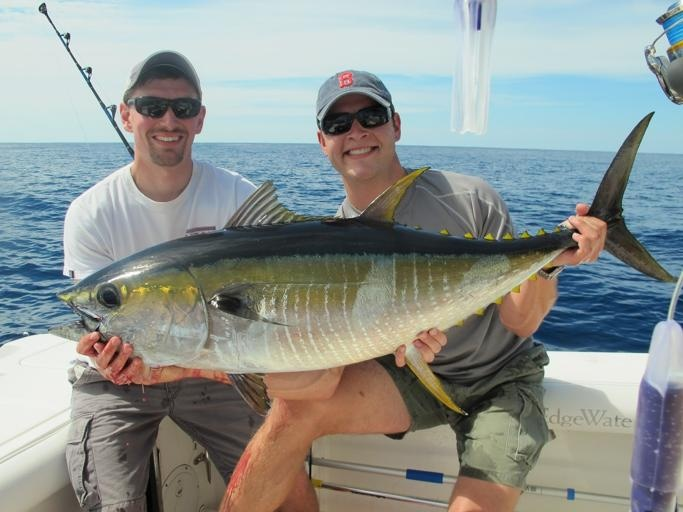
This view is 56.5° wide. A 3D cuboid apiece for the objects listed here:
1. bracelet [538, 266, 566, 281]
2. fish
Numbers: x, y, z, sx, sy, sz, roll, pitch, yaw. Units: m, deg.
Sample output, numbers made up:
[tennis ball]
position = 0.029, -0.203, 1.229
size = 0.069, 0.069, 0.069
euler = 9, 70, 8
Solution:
[bracelet]
position = 1.111, 0.088, 3.381
size = 0.099, 0.035, 0.111
euler = -4, -14, -10
[fish]
position = 0.620, 0.190, 3.913
size = 4.726, 1.383, 1.101
euler = -4, -3, -4
